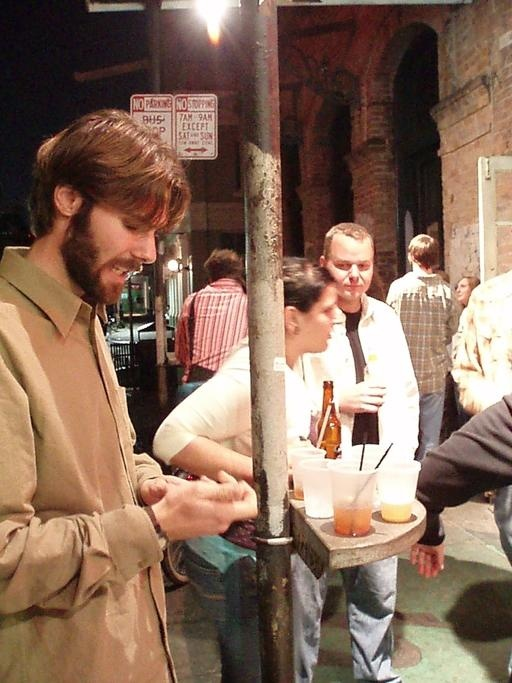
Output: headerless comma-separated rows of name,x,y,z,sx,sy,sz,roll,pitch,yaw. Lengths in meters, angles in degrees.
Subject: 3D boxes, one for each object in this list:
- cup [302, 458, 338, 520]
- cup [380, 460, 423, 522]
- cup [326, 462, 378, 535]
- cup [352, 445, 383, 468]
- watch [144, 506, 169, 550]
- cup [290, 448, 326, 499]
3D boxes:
cup,0.156,0.378,1.625,0.129,0.119,0.123,-2,2,0
cup,0.353,0.382,1.578,0.137,0.132,0.128,0,-11,0
cup,0.222,0.369,1.466,0.150,0.154,0.143,0,-9,0
cup,0.310,0.319,1.768,0.073,0.048,0.066,-1,-2,0
watch,-0.209,0.391,1.315,0.044,0.065,0.041,-4,2,-6
cup,0.123,0.361,1.733,0.128,0.120,0.122,0,-2,0
